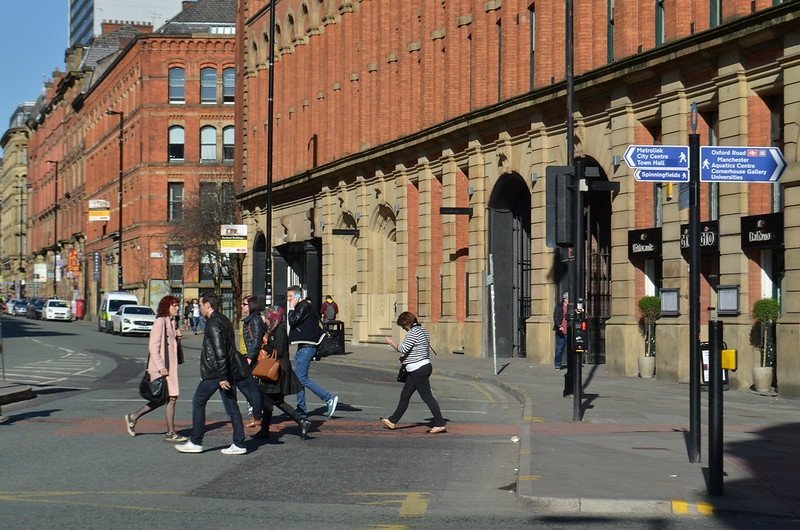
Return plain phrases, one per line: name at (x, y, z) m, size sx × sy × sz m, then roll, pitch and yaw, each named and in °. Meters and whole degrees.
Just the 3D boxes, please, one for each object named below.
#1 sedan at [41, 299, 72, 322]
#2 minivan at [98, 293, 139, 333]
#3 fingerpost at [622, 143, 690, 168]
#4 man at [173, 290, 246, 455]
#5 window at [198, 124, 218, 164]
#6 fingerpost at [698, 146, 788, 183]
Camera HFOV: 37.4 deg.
sedan at (-24.908, 3.251, 85.817) m, size 1.731 × 1.536 × 2.831 m, roll 0°, pitch -5°, yaw -22°
minivan at (-14.486, 2.306, 61.122) m, size 1.687 × 1.544 × 2.745 m, roll 1°, pitch -3°, yaw -17°
fingerpost at (4.285, -1.798, 19.834) m, size 1.040 × 0.441 × 0.200 m, roll -2°, pitch -4°, yaw 3°
man at (-3.370, 1.986, 21.479) m, size 1.158 × 2.897 × 0.879 m, roll -1°, pitch -4°, yaw -10°
window at (-13.686, -8.612, 84.367) m, size 1.179 × 2.632 × 0.779 m, roll -1°, pitch -4°, yaw -10°
fingerpost at (5.570, -1.654, 19.425) m, size 1.319 × 0.616 × 0.278 m, roll -2°, pitch -4°, yaw 12°
